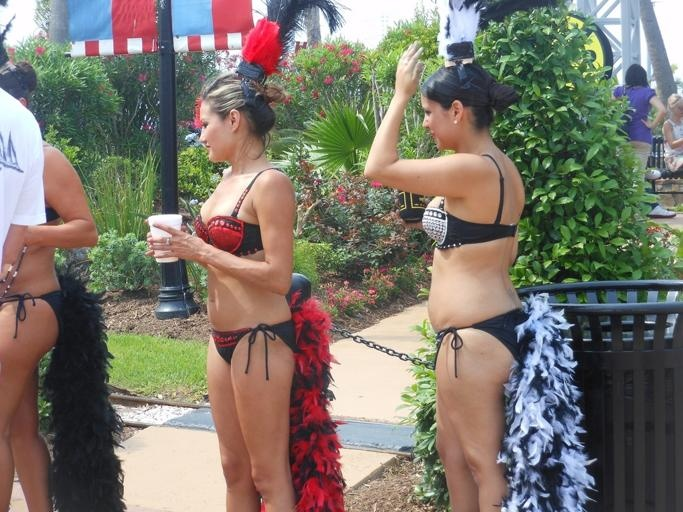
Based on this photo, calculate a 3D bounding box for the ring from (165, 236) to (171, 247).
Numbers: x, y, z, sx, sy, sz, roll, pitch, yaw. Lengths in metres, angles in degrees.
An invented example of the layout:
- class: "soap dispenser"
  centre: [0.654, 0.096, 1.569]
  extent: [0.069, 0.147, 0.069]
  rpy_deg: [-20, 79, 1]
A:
- class: "ring"
  centre: [-0.836, -0.076, 3.955]
  extent: [0.040, 0.032, 0.057]
  rpy_deg: [4, -9, -9]

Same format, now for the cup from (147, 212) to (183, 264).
- class: "cup"
  centre: [-0.858, -0.103, 4.055]
  extent: [0.211, 0.236, 0.205]
  rpy_deg: [-2, -2, 0]

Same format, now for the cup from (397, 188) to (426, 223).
- class: "cup"
  centre: [0.361, -0.281, 4.269]
  extent: [0.145, 0.232, 0.142]
  rpy_deg: [0, -24, 0]
